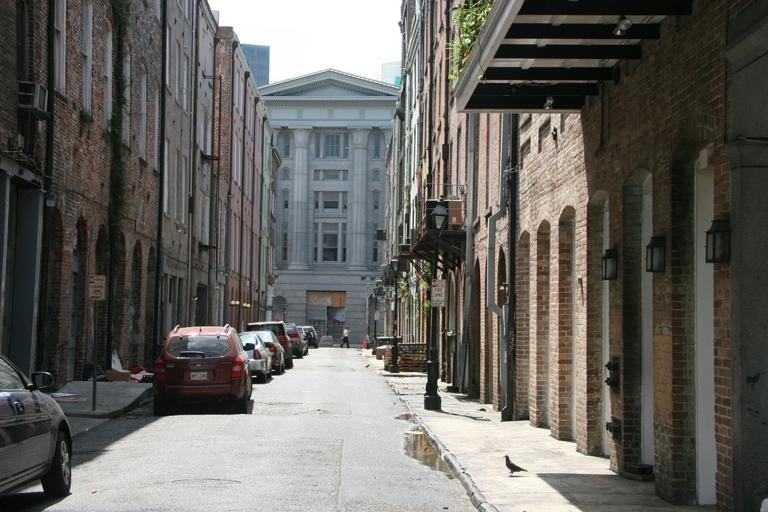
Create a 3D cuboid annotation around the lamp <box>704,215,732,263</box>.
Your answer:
[{"bbox_3d":[3.908,-0.187,10.096,0.174,0.532,0.311,0,-5,-8],"label":"lamp"}]

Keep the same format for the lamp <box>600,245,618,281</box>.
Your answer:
[{"bbox_3d":[3.474,0.107,13.276,0.163,0.492,0.306,0,-5,0],"label":"lamp"}]

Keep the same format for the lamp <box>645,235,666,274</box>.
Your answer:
[{"bbox_3d":[3.638,-0.028,11.585,0.149,0.495,0.405,0,-6,-6],"label":"lamp"}]
